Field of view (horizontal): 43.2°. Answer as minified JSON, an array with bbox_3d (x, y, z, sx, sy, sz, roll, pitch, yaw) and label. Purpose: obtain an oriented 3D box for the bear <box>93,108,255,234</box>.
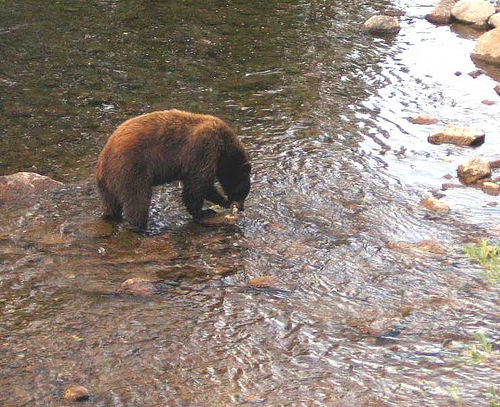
[{"bbox_3d":[-2.470,-0.782,10.624,4.247,1.905,1.577,-3,23,-17],"label":"bear"}]
